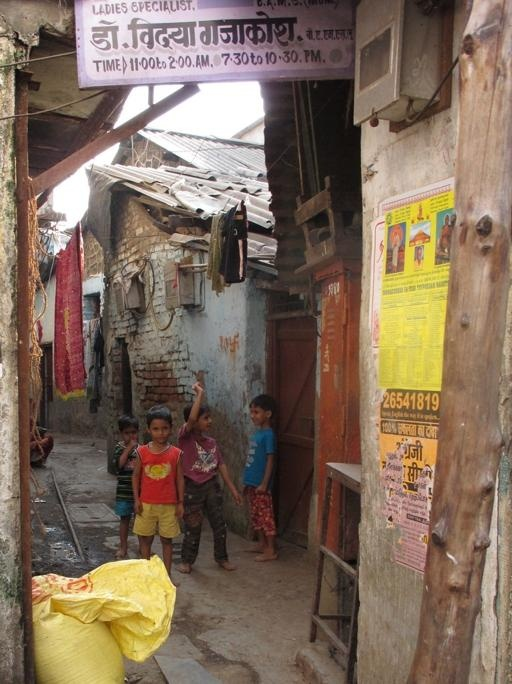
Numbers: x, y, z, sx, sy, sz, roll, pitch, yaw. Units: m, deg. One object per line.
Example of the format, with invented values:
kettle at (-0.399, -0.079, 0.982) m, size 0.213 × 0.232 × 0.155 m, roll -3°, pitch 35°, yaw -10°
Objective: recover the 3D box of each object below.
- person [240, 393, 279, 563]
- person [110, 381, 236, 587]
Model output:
person at (0.019, 1.223, 5.329) m, size 0.339 × 1.461 × 0.393 m, roll 1°, pitch -3°, yaw 14°
person at (-0.582, 1.125, 4.716) m, size 0.609 × 1.578 × 1.239 m, roll 1°, pitch -3°, yaw 16°
